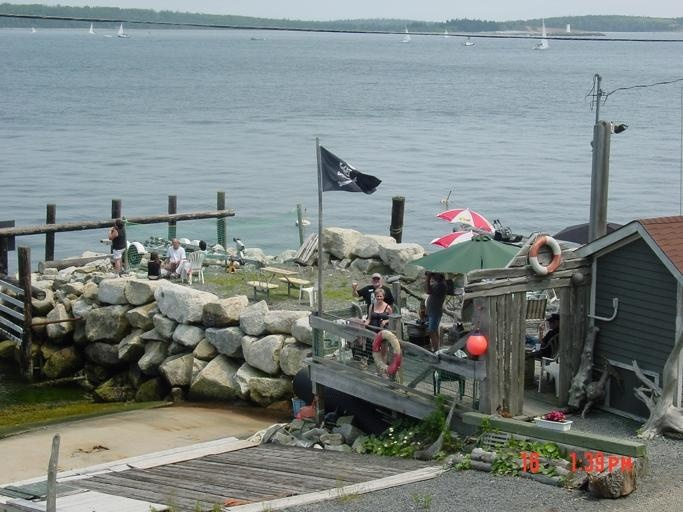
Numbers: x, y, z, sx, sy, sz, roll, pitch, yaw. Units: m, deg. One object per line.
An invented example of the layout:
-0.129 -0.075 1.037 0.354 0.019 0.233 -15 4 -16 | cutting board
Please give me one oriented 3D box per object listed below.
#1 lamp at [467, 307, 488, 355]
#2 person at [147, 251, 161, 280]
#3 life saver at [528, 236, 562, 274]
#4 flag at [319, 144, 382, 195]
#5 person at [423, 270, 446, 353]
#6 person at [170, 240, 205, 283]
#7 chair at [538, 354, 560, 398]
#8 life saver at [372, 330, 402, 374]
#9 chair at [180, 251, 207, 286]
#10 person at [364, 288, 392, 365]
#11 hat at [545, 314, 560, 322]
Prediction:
2.599 1.489 16.864 0.394 1.056 0.565 2 8 11 | lamp
-6.034 0.302 27.991 0.426 0.725 0.877 -2 8 -13 | person
4.038 -0.010 17.389 0.759 0.803 0.267 -4 9 -25 | life saver
0.081 -2.027 20.777 1.261 1.115 1.163 0 8 -1 | flag
2.074 1.268 19.433 0.463 1.800 0.954 1 8 7 | person
-5.040 0.193 28.010 1.235 1.009 0.811 11 12 26 | person
4.354 2.511 18.383 0.578 0.719 0.618 -2 2 24 | chair
0.960 2.038 18.328 0.359 1.051 0.808 -6 10 -36 | life saver
-4.753 0.339 27.813 0.783 1.003 0.902 -6 10 -36 | chair
0.802 1.555 19.445 0.582 1.569 0.507 9 19 26 | person
4.766 1.411 19.904 0.326 0.102 0.307 -1 3 -2 | hat
